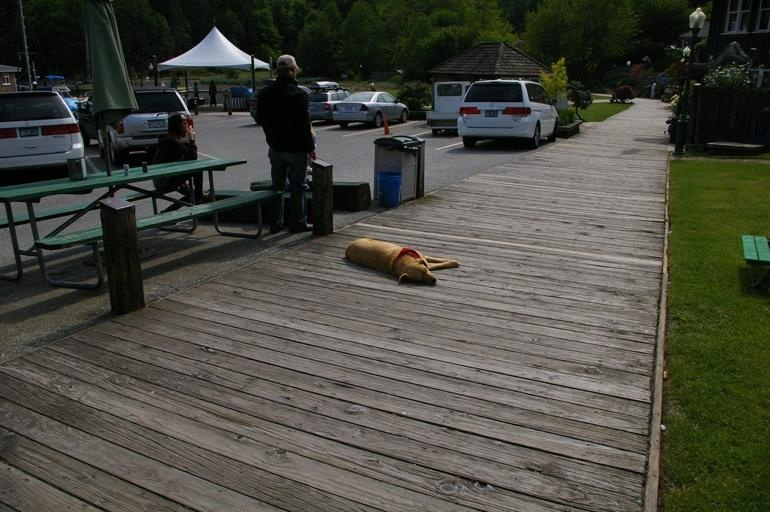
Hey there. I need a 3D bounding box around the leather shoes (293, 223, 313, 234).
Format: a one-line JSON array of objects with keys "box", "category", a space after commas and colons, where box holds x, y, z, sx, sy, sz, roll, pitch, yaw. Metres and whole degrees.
[{"box": [-1.320, -0.458, 9.244, 0.365, 0.125, 0.112, -9, 25, -19], "category": "leather shoes"}]

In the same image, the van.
[{"box": [4.211, -4.698, 19.373, 2.017, 2.168, 3.130, 19, 28, 41], "category": "van"}]

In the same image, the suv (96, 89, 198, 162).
[{"box": [-6.452, -3.407, 15.615, 2.370, 1.608, 4.430, -7, 18, -22], "category": "suv"}]

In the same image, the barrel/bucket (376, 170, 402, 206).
[{"box": [0.038, -1.237, 10.779, 0.462, 0.588, 0.439, -1, 21, 0], "category": "barrel/bucket"}]
